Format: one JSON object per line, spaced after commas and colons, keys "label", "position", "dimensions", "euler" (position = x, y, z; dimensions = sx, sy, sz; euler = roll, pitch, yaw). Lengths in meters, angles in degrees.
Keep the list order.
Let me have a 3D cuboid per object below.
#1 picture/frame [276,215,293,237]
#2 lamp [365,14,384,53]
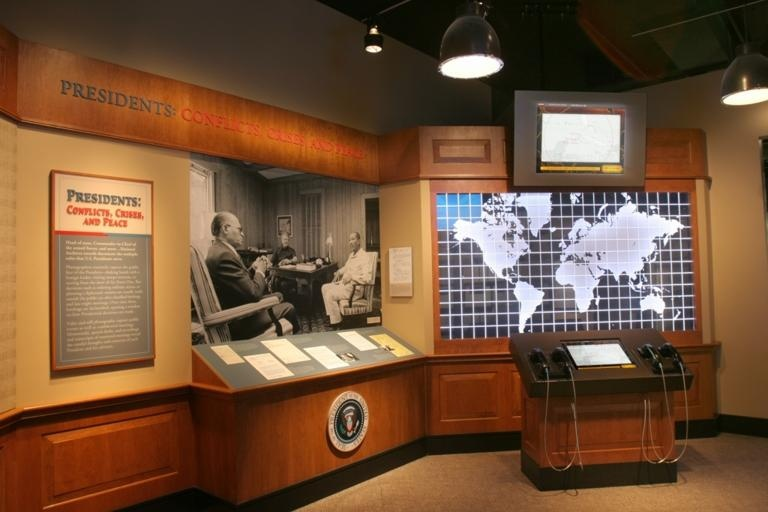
{"label": "picture/frame", "position": [-1.172, -0.349, 6.545], "dimensions": [0.025, 0.347, 0.274], "euler": [-1, -1, 44]}
{"label": "lamp", "position": [-0.152, -2.832, 7.179], "dimensions": [0.208, 0.414, 0.265], "euler": [-1, 5, -3]}
